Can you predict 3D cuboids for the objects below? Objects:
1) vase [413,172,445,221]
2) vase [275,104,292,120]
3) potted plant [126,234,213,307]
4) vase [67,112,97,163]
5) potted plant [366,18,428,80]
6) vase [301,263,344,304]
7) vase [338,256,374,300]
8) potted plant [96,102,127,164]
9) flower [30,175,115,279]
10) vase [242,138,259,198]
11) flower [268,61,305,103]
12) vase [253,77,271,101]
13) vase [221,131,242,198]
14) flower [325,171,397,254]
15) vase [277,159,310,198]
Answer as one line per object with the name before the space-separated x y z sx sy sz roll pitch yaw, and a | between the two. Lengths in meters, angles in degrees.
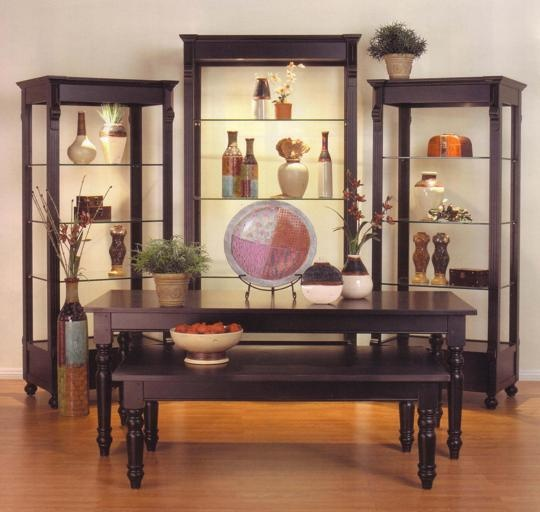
vase | 1.053 -0.395 4.408 0.200 0.298 0.191 1 0 -5
vase | 0.085 -0.967 4.492 0.112 0.103 0.109 0 2 -5
potted plant | -0.513 0.091 3.340 0.388 0.336 0.366 -2 -10 -26
vase | -1.230 -0.771 4.343 0.174 0.353 0.215 1 5 13
potted plant | 0.825 -1.352 4.382 0.363 0.399 0.222 2 6 15
vase | 0.264 0.135 3.341 0.203 0.200 0.202 1 -1 6
vase | 0.437 0.115 3.423 0.212 0.266 0.207 -1 -2 -9
potted plant | -1.024 -0.797 4.361 0.178 0.384 0.150 -4 7 -39
flower | -1.230 -0.108 4.170 0.479 0.602 0.439 7 -17 -32
vase | -0.138 -0.577 4.407 0.095 0.394 0.135 1 5 6
flower | 0.094 -1.115 4.465 0.161 0.207 0.121 6 4 42
vase | -0.058 -1.107 4.465 0.148 0.204 0.146 0 -2 -4
vase | -0.252 -0.601 4.401 0.137 0.443 0.081 1 6 12
flower | 0.570 -0.206 4.012 0.401 0.496 0.378 10 -10 -22
vase | 0.143 -0.502 4.412 0.187 0.243 0.132 4 7 37
